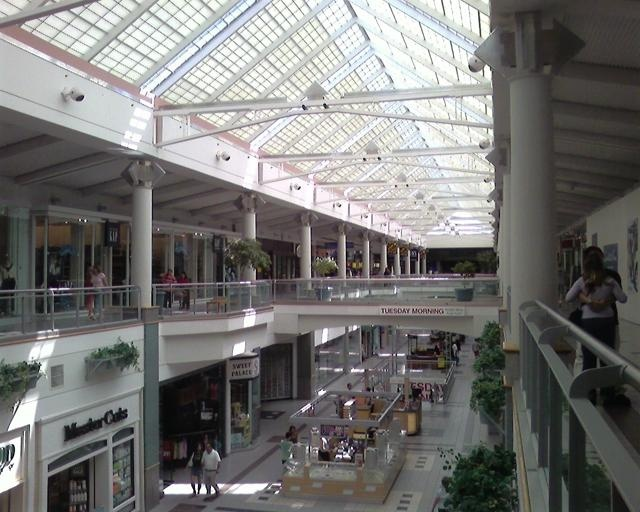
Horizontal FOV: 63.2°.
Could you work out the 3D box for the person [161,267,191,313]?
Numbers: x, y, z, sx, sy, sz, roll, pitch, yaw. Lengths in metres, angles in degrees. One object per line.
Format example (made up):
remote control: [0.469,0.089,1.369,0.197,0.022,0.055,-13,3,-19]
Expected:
person: [-4.845,1.108,17.402,0.766,1.296,2.559,-2,-2,-18]

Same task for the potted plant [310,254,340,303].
potted plant: [0.131,1.013,24.827,1.847,3.114,1.940,1,-8,1]

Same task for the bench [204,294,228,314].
bench: [-3.477,1.638,17.396,0.452,0.682,0.697,2,0,36]

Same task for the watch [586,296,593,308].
watch: [2.706,0.456,5.227,0.080,0.120,0.027,-2,-1,20]
